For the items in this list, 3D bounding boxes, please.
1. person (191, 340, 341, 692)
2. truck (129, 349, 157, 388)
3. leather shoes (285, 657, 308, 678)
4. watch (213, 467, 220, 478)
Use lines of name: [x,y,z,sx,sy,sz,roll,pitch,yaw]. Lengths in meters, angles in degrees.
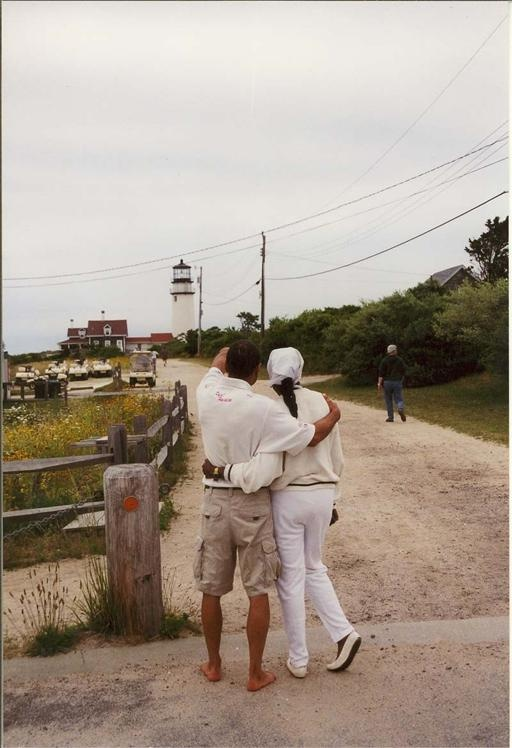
person: [-0.015,0.731,4.119,0.684,1.820,0.465,-1,3,14]
truck: [-4.660,-0.167,30.728,1.110,1.335,2.183,-1,-3,-2]
leather shoes: [0.220,1.599,4.129,0.079,0.079,0.186,1,4,1]
watch: [-0.208,0.524,4.029,0.031,0.052,0.047,-3,-6,13]
